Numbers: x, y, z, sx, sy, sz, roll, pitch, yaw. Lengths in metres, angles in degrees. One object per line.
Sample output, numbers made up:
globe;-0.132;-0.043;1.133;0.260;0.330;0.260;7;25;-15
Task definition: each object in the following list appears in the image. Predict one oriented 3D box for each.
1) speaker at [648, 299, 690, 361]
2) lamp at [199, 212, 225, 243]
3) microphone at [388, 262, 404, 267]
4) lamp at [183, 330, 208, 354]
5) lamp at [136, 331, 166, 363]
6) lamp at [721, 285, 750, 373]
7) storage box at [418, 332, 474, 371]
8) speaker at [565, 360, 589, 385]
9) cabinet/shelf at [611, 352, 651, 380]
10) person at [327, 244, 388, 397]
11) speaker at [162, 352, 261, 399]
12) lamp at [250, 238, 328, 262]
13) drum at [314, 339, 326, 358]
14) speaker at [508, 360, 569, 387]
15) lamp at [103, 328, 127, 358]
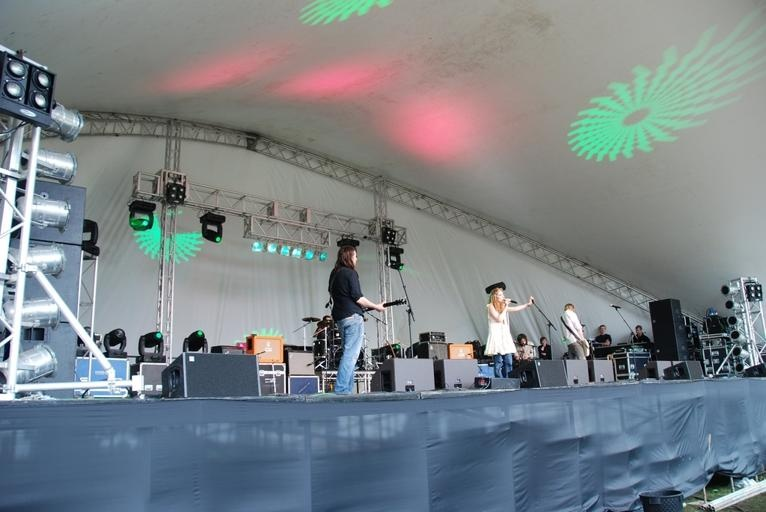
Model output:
speaker;7.427;1.906;13.303;0.901;1.557;0.902;3;-2;28
lamp;-4.192;-0.702;12.482;0.583;0.806;0.431;16;-25;-42
microphone;0.369;0.275;14.379;0.310;0.117;0.603;3;-3;15
lamp;-3.382;1.542;9.265;0.348;0.383;1.154;5;-3;-22
lamp;-4.527;1.803;10.126;0.641;0.657;0.578;-14;-18;39
lamp;8.785;1.764;12.694;0.570;2.219;0.994;2;-3;37
storage box;1.231;2.043;11.139;0.854;0.525;0.844;5;-9;-33
speaker;2.932;1.780;7.764;0.411;0.379;0.235;9;-17;-36
cabinet/shelf;5.926;2.658;12.242;1.013;0.748;0.584;6;-13;-35
person;-0.375;0.759;6.110;0.514;1.313;0.528;4;-2;-16
speaker;-1.482;1.043;4.431;0.820;0.359;0.331;5;-2;-16
lamp;-2.488;-0.152;13.652;2.013;0.410;1.247;5;-3;-15
drum;-1.354;1.985;10.992;0.310;0.360;0.314;-4;-5;41
speaker;2.034;1.548;6.678;0.567;0.306;0.399;12;-20;-40
lamp;-5.006;1.664;9.517;0.364;0.562;1.003;5;-3;-28
